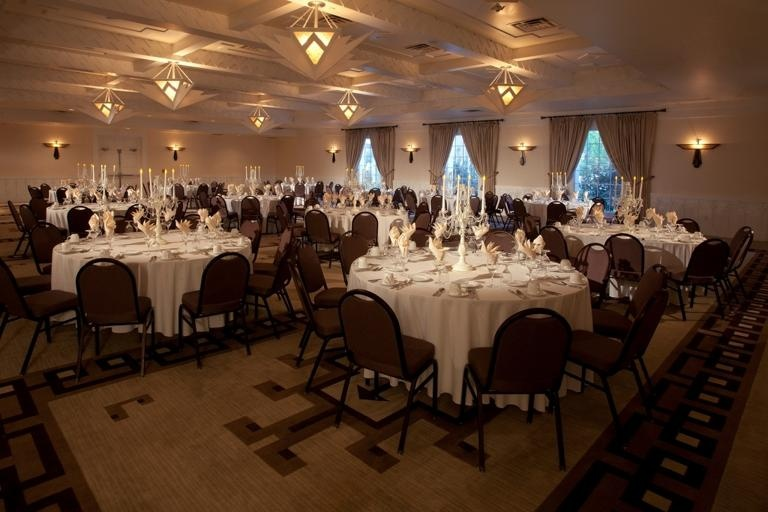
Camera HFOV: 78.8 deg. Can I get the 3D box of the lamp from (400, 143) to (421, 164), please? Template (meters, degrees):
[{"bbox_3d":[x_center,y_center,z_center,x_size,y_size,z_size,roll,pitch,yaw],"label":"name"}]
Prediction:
[{"bbox_3d":[1.059,-4.174,18.977,0.695,0.676,0.727,-2,2,7],"label":"lamp"}]

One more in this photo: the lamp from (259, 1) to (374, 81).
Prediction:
[{"bbox_3d":[-1.087,-3.094,6.882,1.418,1.067,1.440,3,1,-16],"label":"lamp"}]

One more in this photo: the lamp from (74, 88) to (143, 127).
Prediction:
[{"bbox_3d":[-8.516,-4.612,14.320,1.904,0.978,1.933,-2,-4,-21],"label":"lamp"}]

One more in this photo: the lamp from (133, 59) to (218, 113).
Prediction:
[{"bbox_3d":[-4.525,-3.571,10.046,1.324,1.121,1.925,5,1,-8],"label":"lamp"}]

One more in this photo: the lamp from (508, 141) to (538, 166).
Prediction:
[{"bbox_3d":[4.645,-3.451,15.716,0.250,0.770,0.894,-9,13,-38],"label":"lamp"}]

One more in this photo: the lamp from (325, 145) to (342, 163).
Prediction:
[{"bbox_3d":[-2.331,-4.818,22.017,0.710,0.753,0.745,-3,-2,14],"label":"lamp"}]

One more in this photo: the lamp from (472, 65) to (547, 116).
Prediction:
[{"bbox_3d":[3.108,-4.169,11.593,0.815,0.873,1.451,7,50,-1],"label":"lamp"}]

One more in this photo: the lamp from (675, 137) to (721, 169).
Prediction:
[{"bbox_3d":[8.347,-2.769,12.383,0.865,0.772,0.256,3,7,44],"label":"lamp"}]
